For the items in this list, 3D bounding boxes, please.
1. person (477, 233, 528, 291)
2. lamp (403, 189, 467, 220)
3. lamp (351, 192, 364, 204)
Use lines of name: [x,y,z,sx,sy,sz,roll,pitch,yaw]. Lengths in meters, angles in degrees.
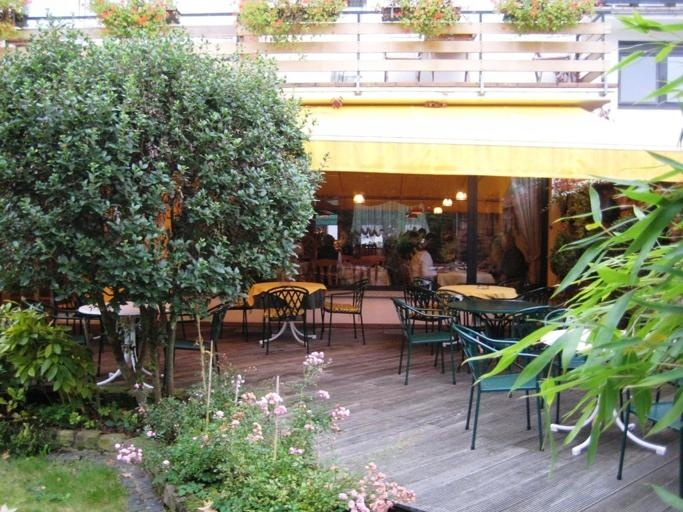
person: [2.914,0.057,9.801,1.076,1.027,0.642,2,7,9]
lamp: [1.752,-0.955,10.095,1.127,0.180,0.178,-22,-2,0]
lamp: [0.291,-1.055,10.227,0.182,0.163,0.176,-3,9,-26]
